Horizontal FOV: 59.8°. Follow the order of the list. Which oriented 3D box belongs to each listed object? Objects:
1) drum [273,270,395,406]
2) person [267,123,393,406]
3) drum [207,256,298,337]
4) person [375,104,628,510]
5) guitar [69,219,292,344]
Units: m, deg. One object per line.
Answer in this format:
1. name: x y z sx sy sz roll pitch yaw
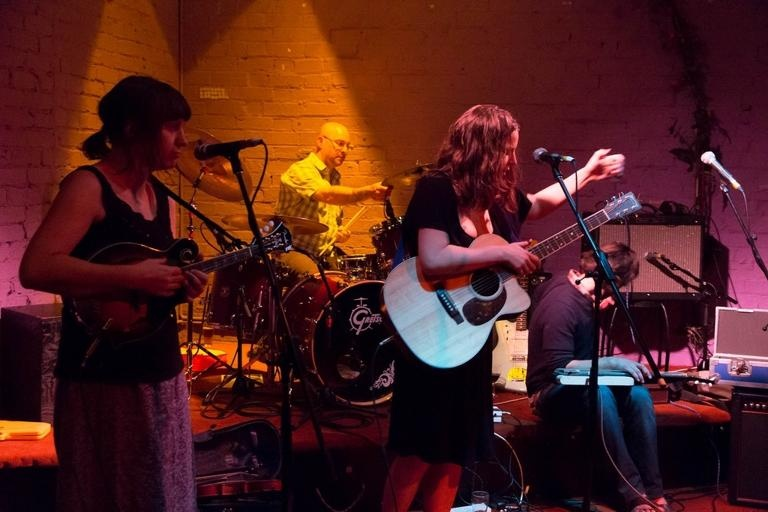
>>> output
1. drum: -0.291 0.689 5.018 0.988 0.965 0.582 0 -8 -35
2. person: -0.561 -0.409 5.894 0.773 1.522 0.660 12 21 -10
3. drum: -1.068 0.302 5.110 0.479 0.563 0.722 3 -8 -35
4. person: 0.490 0.264 3.441 1.060 2.076 0.475 -2 -7 -2
5. guitar: -1.022 0.137 3.507 0.925 0.379 0.119 -22 18 -32
